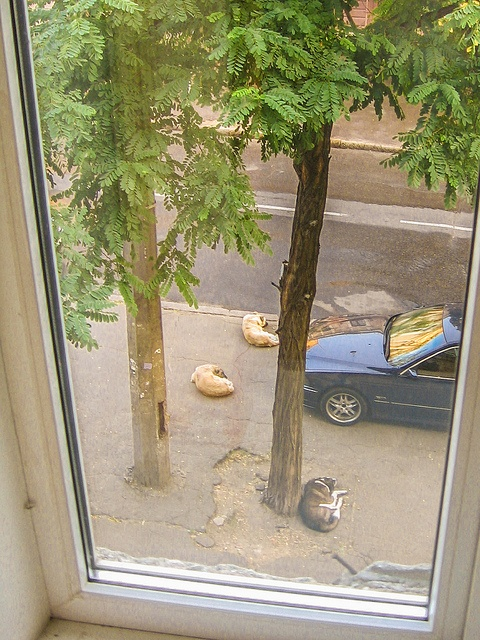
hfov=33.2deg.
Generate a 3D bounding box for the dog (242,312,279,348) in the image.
[{"bbox_3d":[0.035,0.026,1.771,0.053,0.076,0.122,7,4,35],"label":"dog"}]

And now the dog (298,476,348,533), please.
[{"bbox_3d":[0.183,0.401,1.734,0.101,0.115,0.055,7,4,38],"label":"dog"}]
